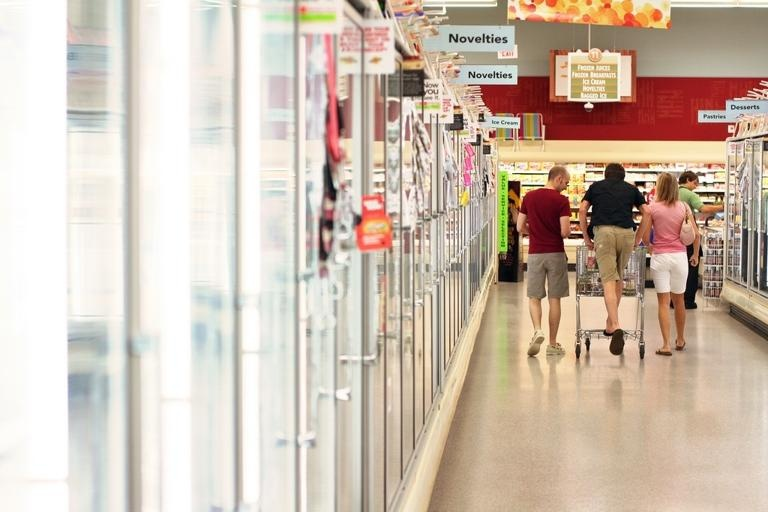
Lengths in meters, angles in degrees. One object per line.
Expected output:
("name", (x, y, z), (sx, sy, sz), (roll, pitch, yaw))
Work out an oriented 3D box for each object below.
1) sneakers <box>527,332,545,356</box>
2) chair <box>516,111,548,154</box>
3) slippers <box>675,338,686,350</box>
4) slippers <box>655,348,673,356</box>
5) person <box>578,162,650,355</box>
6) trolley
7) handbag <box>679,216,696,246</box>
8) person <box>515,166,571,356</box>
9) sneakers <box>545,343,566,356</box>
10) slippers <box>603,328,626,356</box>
("sneakers", (1.292, 0.739, 6.771), (0.102, 0.254, 0.101), (3, 46, -10))
("chair", (3.123, -2.632, 16.512), (0.713, 0.971, 0.746), (0, 5, 1))
("slippers", (2.688, 0.790, 7.122), (0.063, 0.067, 0.176), (2, 9, 12))
("slippers", (2.417, 0.821, 6.790), (0.129, 0.072, 0.117), (1, 12, 17))
("person", (1.911, 0.031, 6.565), (0.546, 1.500, 0.951), (0, 11, 14))
("trolley", (1.982, 0.372, 7.023), (0.770, 1.250, 0.926), (0, -2, 5))
("handbag", (2.626, -0.222, 6.817), (0.141, 0.277, 0.258), (1, -2, 14))
("person", (1.377, 0.073, 6.773), (0.430, 1.657, 0.600), (-1, 11, 9))
("sneakers", (1.498, 0.807, 6.874), (0.077, 0.078, 0.186), (2, 5, 26))
("slippers", (1.857, 0.677, 6.301), (0.151, 0.294, 0.197), (-1, 2, 0))
